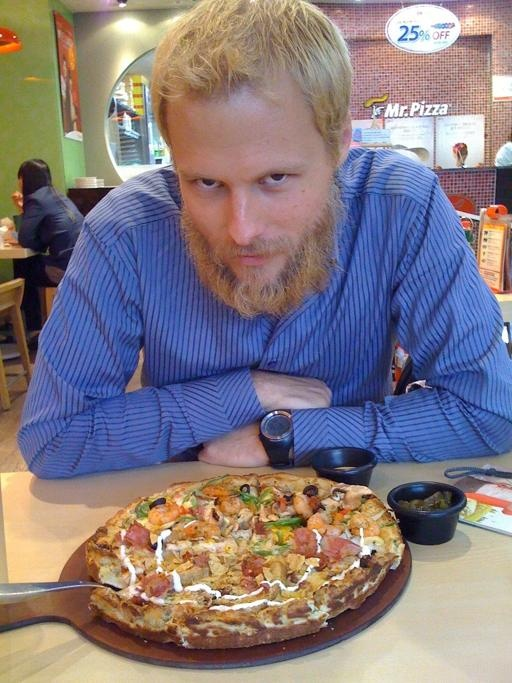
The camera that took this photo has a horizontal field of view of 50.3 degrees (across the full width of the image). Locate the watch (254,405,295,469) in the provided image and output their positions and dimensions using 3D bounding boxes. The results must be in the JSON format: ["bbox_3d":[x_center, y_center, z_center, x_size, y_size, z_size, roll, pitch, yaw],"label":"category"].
[{"bbox_3d":[0.039,0.180,1.027,0.071,0.093,0.090,-10,-31,11],"label":"watch"}]

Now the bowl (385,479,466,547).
[{"bbox_3d":[0.224,0.221,0.705,0.095,0.048,0.090,-8,6,1],"label":"bowl"}]

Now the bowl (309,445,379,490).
[{"bbox_3d":[0.133,0.186,0.829,0.076,0.046,0.071,-1,10,0],"label":"bowl"}]
